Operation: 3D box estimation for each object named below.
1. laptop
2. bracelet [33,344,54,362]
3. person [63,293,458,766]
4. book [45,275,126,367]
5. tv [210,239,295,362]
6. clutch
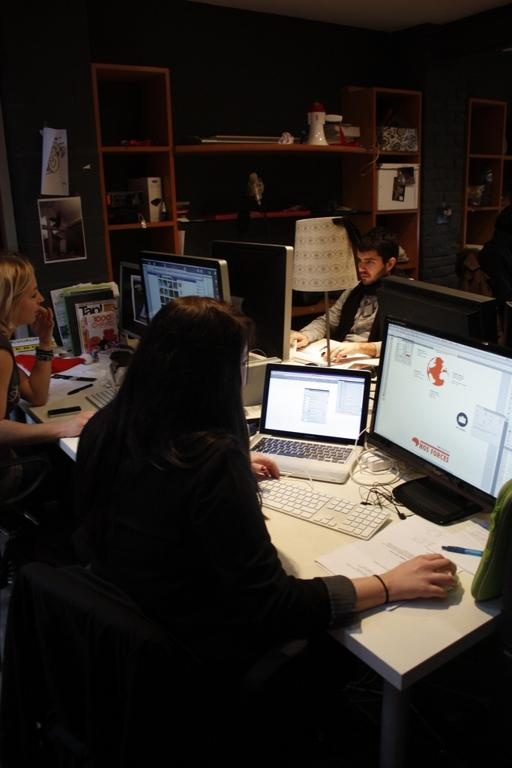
[{"bbox_3d":[0.166,0.084,1.632,0.337,0.323,0.251,9,11,21],"label":"laptop"},{"bbox_3d":[-0.855,-0.129,2.252,0.058,0.063,0.068,-3,2,-40],"label":"bracelet"},{"bbox_3d":[-0.055,0.249,1.172,0.510,0.678,0.805,-20,32,-31],"label":"person"},{"bbox_3d":[-0.810,-0.316,2.691,0.083,0.346,0.364,22,30,31],"label":"book"},{"bbox_3d":[-0.004,-0.272,1.779,0.041,0.384,0.425,-13,22,-30],"label":"tv"},{"bbox_3d":[0.423,0.275,1.346,0.109,0.025,0.117,-14,22,-25],"label":"clutch"}]
